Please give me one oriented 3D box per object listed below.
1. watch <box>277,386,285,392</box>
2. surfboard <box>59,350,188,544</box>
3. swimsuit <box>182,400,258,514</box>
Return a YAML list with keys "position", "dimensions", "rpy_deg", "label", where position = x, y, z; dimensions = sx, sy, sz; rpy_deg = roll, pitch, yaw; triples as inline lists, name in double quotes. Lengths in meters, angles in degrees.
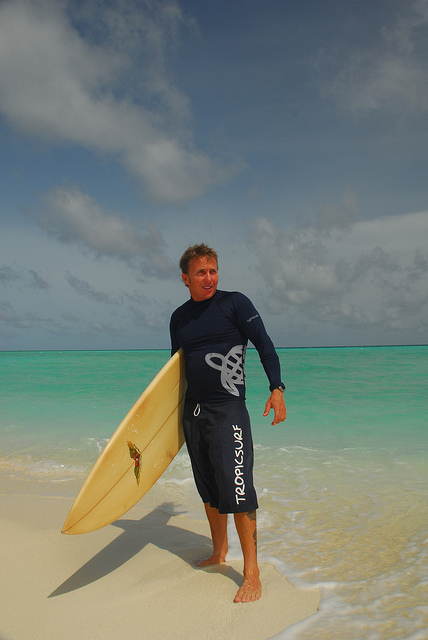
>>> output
- position: [0.412, 0.423, 3.357]
  dimensions: [0.039, 0.032, 0.009]
  rpy_deg: [10, -36, -36]
  label: "watch"
- position: [-0.570, 0.972, 3.729]
  dimensions: [0.455, 0.139, 1.519]
  rpy_deg: [20, 20, 10]
  label: "surfboard"
- position: [0.041, 0.859, 3.479]
  dimensions: [0.273, 0.717, 0.550]
  rpy_deg: [1, -1, -30]
  label: "swimsuit"
